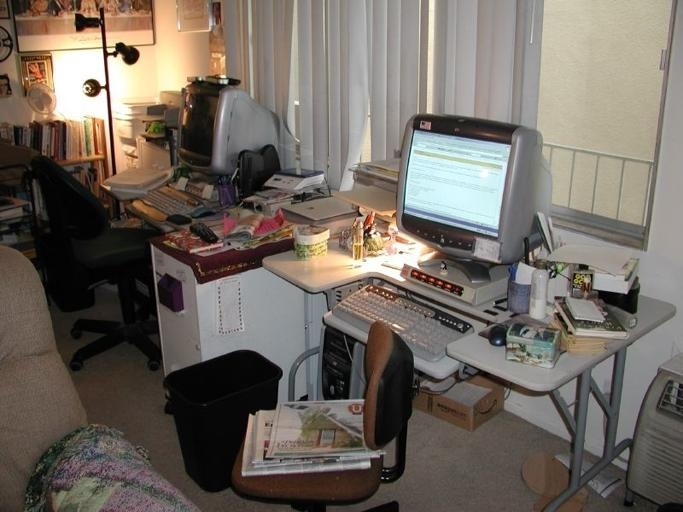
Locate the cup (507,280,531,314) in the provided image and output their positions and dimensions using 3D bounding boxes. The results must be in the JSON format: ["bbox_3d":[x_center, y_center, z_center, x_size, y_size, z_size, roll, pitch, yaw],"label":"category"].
[{"bbox_3d":[0.713,0.172,2.226,0.110,0.132,0.109,0,4,0],"label":"cup"}]

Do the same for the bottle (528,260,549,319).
[{"bbox_3d":[0.782,0.138,2.105,0.085,0.206,0.090,0,21,0],"label":"bottle"}]

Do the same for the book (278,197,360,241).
[{"bbox_3d":[-0.110,-0.236,2.909,0.279,0.066,0.257,-21,34,-38],"label":"book"}]

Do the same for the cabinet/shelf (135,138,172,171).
[{"bbox_3d":[-1.447,-0.794,4.193,0.222,0.333,0.323,-5,16,-35],"label":"cabinet/shelf"}]

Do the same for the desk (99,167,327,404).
[{"bbox_3d":[-0.798,0.059,3.179,0.800,1.462,0.770,-13,21,-33],"label":"desk"}]

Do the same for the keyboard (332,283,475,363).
[{"bbox_3d":[0.259,0.272,2.186,0.233,0.084,0.455,-28,34,-32],"label":"keyboard"}]

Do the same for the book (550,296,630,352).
[{"bbox_3d":[0.926,0.265,1.997,0.205,0.066,0.212,-3,38,-24],"label":"book"}]

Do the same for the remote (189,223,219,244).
[{"bbox_3d":[-0.693,-0.121,2.774,0.071,0.095,0.216,7,7,-39],"label":"remote"}]

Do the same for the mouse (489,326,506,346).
[{"bbox_3d":[0.588,0.301,2.024,0.061,0.058,0.090,8,23,19],"label":"mouse"}]

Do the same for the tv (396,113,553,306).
[{"bbox_3d":[0.537,-0.292,2.287,0.632,0.568,0.292,12,24,28],"label":"tv"}]

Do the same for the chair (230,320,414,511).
[{"bbox_3d":[-0.049,0.506,2.130,0.650,0.759,0.574,1,16,-2],"label":"chair"}]

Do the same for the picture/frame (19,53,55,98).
[{"bbox_3d":[-2.769,-1.646,4.891,0.034,0.437,0.344,14,21,35],"label":"picture/frame"}]

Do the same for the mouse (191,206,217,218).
[{"bbox_3d":[-0.805,-0.255,3.152,0.094,0.027,0.073,-18,32,-34],"label":"mouse"}]

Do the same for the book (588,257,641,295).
[{"bbox_3d":[1.076,0.070,2.110,0.147,0.144,0.038,7,3,-35],"label":"book"}]

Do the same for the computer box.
[{"bbox_3d":[0.011,0.586,2.776,0.234,0.375,0.233,9,7,8],"label":"computer box"}]
